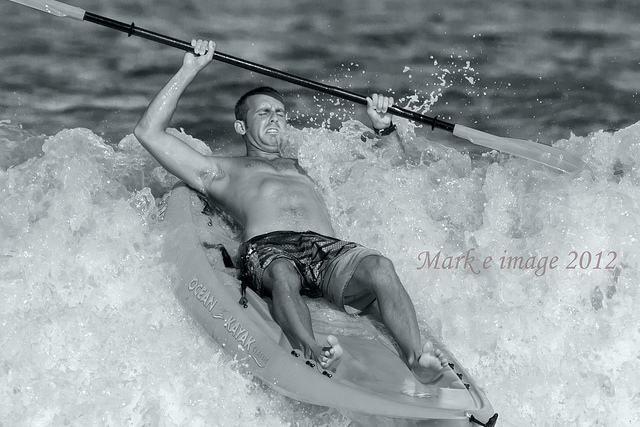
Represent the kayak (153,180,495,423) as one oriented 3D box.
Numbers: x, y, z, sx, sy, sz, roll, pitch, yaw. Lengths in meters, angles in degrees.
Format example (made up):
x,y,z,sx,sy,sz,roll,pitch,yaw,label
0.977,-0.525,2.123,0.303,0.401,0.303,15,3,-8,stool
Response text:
x,y,z,sx,sy,sz,roll,pitch,yaw,label
-0.140,0.911,7.352,3.001,0.873,1.019,32,77,10,kayak
